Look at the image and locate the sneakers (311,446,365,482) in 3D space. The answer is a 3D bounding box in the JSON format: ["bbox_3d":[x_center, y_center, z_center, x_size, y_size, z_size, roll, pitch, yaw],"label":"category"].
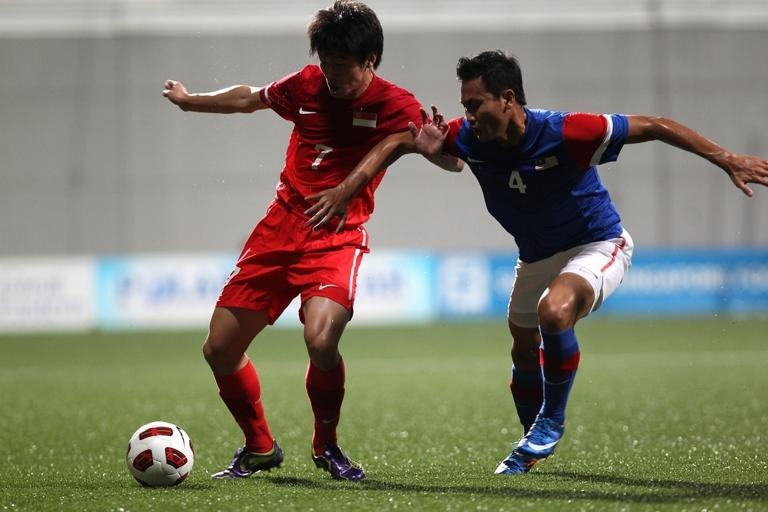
[{"bbox_3d":[-0.384,1.785,9.057,0.472,0.190,0.220,14,28,36],"label":"sneakers"}]

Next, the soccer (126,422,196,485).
[{"bbox_3d":[-1.960,1.761,9.122,0.570,0.579,0.593,-8,-12,43],"label":"soccer"}]
